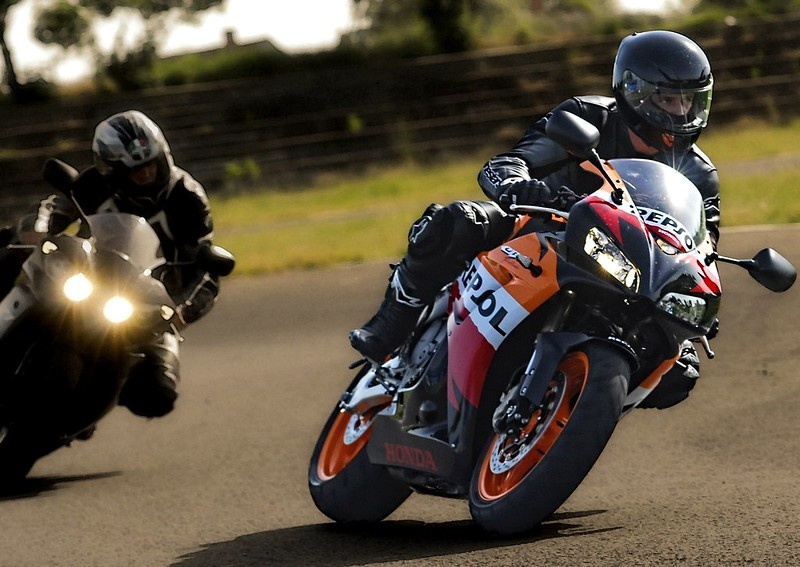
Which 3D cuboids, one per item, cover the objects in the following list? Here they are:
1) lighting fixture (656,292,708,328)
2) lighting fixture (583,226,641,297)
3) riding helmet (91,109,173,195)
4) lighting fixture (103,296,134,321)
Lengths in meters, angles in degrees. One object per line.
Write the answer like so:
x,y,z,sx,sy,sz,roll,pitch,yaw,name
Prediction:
1.263,0.103,4.425,0.214,0.138,0.050,24,1,-24,lighting fixture
0.948,-0.099,4.416,0.087,0.284,0.224,-42,5,17,lighting fixture
-1.619,-0.777,6.011,0.442,0.479,0.525,-23,28,-20,riding helmet
-1.472,0.132,5.207,0.168,0.144,0.044,-11,13,-35,lighting fixture
